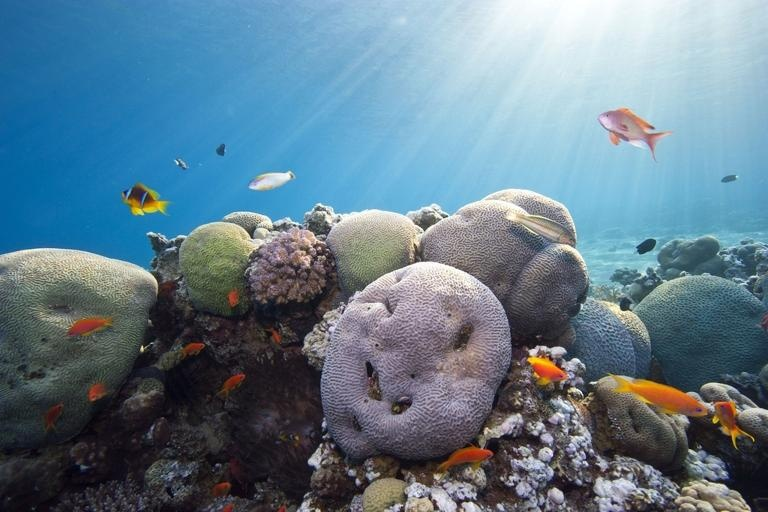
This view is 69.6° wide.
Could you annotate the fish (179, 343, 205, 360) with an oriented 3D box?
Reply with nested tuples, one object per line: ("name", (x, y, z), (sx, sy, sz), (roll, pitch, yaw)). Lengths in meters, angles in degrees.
("fish", (-3.647, 1.724, 10.462), (0.461, 0.367, 0.295), (-2, 43, -8))

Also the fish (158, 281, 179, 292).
("fish", (-4.241, 0.596, 10.818), (0.368, 0.075, 0.213), (-7, 44, -14))

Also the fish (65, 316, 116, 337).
("fish", (-5.251, 1.201, 9.816), (0.723, 0.384, 0.311), (-14, 46, -20))

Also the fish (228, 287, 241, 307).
("fish", (-2.840, 0.791, 10.393), (0.248, 0.128, 0.428), (1, 80, -23))

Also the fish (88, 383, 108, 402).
("fish", (-5.097, 2.407, 9.768), (0.286, 0.294, 0.240), (-3, 43, -10))

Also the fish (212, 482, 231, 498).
("fish", (-2.916, 4.158, 9.849), (0.316, 0.284, 0.169), (-2, 43, -8))
